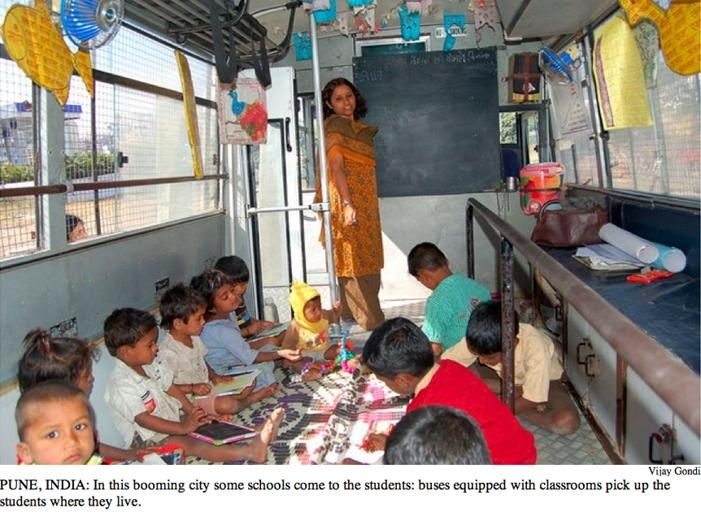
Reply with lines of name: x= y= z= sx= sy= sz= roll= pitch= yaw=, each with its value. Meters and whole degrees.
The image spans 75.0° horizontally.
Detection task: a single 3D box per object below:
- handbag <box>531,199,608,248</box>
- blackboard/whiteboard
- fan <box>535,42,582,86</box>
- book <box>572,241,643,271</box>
handbag: x=1.447 y=-0.209 z=3.027 sx=0.329 sy=0.210 sz=0.471 roll=-1 pitch=6 yaw=13
blackboard/whiteboard: x=0.810 y=-1.382 z=4.584 sx=1.645 sy=1.668 sz=0.075 roll=-1 pitch=9 yaw=6
fan: x=1.733 y=-1.549 z=3.822 sx=0.132 sy=0.346 sz=0.357 roll=-44 pitch=-7 yaw=-5
book: x=1.453 y=0.002 z=2.639 sx=0.259 sy=0.099 sz=0.450 roll=0 pitch=7 yaw=8
